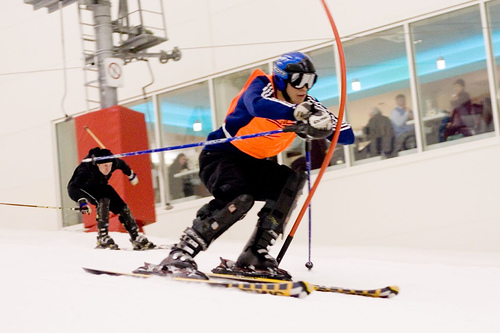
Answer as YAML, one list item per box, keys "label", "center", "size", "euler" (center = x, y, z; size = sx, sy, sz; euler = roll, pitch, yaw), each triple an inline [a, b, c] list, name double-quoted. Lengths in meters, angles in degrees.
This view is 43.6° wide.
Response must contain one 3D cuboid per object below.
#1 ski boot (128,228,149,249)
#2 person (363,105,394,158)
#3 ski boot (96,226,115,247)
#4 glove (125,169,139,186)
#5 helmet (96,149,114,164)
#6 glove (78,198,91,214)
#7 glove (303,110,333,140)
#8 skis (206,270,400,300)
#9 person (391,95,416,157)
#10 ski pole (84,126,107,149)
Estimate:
- label: "ski boot"
  center: [-1.617, 1.046, 9.087]
  size: [0.219, 0.324, 0.196]
  euler: [-10, -26, 25]
- label: "person"
  center: [1.904, -0.545, 9.346]
  size: [0.426, 0.702, 0.285]
  euler: [-7, -25, 19]
- label: "ski boot"
  center: [-2.065, 0.989, 8.961]
  size: [0.264, 0.294, 0.172]
  euler: [-1, -24, 5]
- label: "glove"
  center: [-1.731, 0.152, 9.384]
  size: [0.230, 0.182, 0.209]
  euler: [-1, 5, -3]
- label: "helmet"
  center: [-2.109, -0.163, 9.169]
  size: [0.244, 0.147, 0.234]
  euler: [-5, -6, 17]
- label: "glove"
  center: [-2.326, 0.553, 8.889]
  size: [0.184, 0.192, 0.084]
  euler: [0, 4, -36]
- label: "glove"
  center: [0.714, -0.432, 6.396]
  size: [0.356, 0.212, 0.235]
  euler: [1, -49, 15]
- label: "skis"
  center: [0.505, 1.237, 6.527]
  size: [1.850, 0.083, 0.207]
  euler: [5, 0, 8]
- label: "person"
  center: [2.198, -0.618, 9.210]
  size: [0.351, 0.837, 0.298]
  euler: [-8, -26, 20]
- label: "ski pole"
  center: [-2.455, -0.485, 10.050]
  size: [0.078, 0.502, 0.058]
  euler: [-44, -7, 4]
